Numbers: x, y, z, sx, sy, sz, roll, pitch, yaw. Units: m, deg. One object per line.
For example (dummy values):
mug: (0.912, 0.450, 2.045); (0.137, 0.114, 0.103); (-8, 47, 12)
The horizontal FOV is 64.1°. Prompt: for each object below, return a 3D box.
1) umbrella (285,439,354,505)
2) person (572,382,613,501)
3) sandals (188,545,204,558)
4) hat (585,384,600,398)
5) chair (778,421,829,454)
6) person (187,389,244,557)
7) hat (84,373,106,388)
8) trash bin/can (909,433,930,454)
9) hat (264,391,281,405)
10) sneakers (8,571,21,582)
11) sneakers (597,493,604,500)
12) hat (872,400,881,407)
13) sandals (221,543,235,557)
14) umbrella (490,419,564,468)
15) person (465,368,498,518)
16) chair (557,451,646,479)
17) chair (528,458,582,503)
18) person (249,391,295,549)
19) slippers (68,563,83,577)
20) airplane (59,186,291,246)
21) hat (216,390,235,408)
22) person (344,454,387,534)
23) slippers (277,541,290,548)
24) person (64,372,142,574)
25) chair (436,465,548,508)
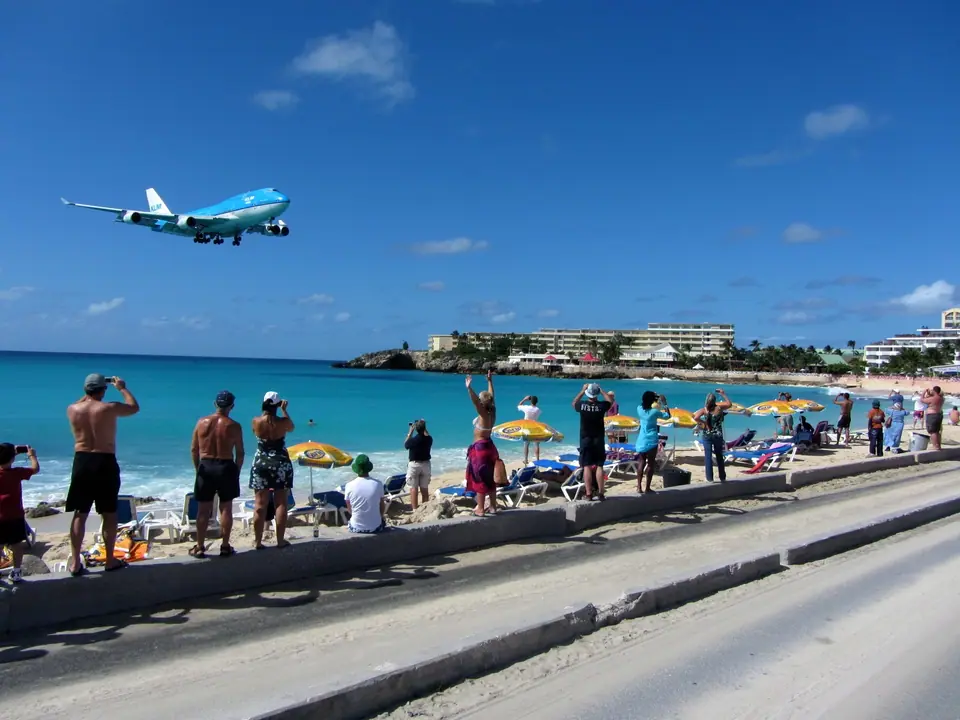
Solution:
umbrella: (-2.874, 2.007, 13.999); (1.365, 1.133, 1.257); (2, -5, -4)
person: (1.600, 1.171, 11.080); (0.498, 1.716, 0.551); (2, 6, 7)
sandals: (-3.030, 2.039, 8.173); (0.105, 0.092, 0.294); (2, -3, -33)
hat: (1.595, 0.430, 10.895); (0.202, 0.180, 0.181); (5, 3, 5)
chair: (8.758, 2.077, 20.335); (1.809, 0.748, 1.031); (-2, 0, -45)
person: (-2.930, 1.275, 8.465); (0.553, 1.850, 1.067); (-1, 6, -18)
hat: (-3.965, 0.219, 7.862); (0.192, 0.116, 0.230); (2, 21, -9)
trash bin/can: (11.269, 2.128, 19.570); (0.566, 0.425, 0.502); (2, -1, 5)
hat: (-2.321, 0.421, 8.636); (0.231, 0.102, 0.144); (-6, 12, -45)
sneakers: (-4.441, 2.048, 7.288); (0.072, 0.063, 0.179); (2, 3, -15)
sneakers: (1.745, 1.987, 11.142); (0.103, 0.129, 0.088); (2, -9, -14)
hat: (9.256, 1.012, 17.949); (0.223, 0.188, 0.178); (4, 7, 38)
sandals: (-2.689, 2.018, 8.141); (0.087, 0.136, 0.177); (6, 7, 39)
umbrella: (0.848, 1.479, 13.959); (0.858, 0.470, 0.849); (0, -4, 25)
person: (0.017, 1.169, 10.351); (0.437, 1.862, 0.757); (1, 6, -1)
chair: (2.646, 2.247, 16.563); (1.635, 0.390, 0.756); (0, -2, -6)
chair: (1.548, 2.301, 14.843); (0.691, 0.572, 1.060); (0, 7, -33)
person: (-2.413, 1.298, 8.850); (0.456, 1.921, 1.193); (0, 6, -16)
slippers: (-3.947, 2.038, 7.462); (0.144, 0.106, 0.284); (3, -11, -25)
airplane: (-11.233, -6.034, 32.627); (6.475, 2.281, 2.320); (1, 5, 6)
hat: (-2.809, 0.412, 8.414); (0.224, 0.218, 0.209); (7, -20, -13)
person: (-1.400, 1.651, 9.383); (0.467, 0.912, 0.755); (0, 5, -9)
slippers: (-2.171, 2.025, 8.455); (0.095, 0.019, 0.088); (1, 2, 21)
person: (-3.959, 1.206, 8.020); (0.675, 2.131, 1.353); (-1, 6, -26)
chair: (0.404, 2.325, 14.044); (1.603, 0.467, 0.905); (1, 1, 30)
